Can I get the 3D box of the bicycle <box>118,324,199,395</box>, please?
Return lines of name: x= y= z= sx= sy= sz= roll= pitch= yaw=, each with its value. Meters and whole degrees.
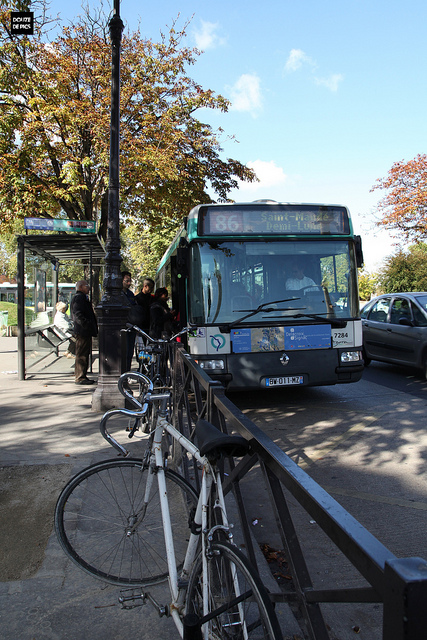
bicycle: x=-0.345 y=0.293 z=3.397 sx=0.447 sy=0.541 sz=0.833 roll=1 pitch=2 yaw=-23

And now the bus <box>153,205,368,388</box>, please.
bus: x=0.699 y=-0.367 z=10.863 sx=2.816 sy=3.169 sz=8.008 roll=-2 pitch=1 yaw=0

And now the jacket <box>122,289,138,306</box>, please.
jacket: x=-1.661 y=-0.464 z=9.601 sx=0.216 sy=0.321 sz=0.871 roll=-2 pitch=1 yaw=-8

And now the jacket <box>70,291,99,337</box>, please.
jacket: x=-2.489 y=-0.120 z=9.254 sx=0.448 sy=0.914 sz=0.864 roll=-4 pitch=-5 yaw=-12

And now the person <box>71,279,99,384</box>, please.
person: x=-2.483 y=0.218 z=9.216 sx=0.449 sy=2.042 sz=0.864 roll=-2 pitch=1 yaw=-16

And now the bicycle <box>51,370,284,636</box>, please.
bicycle: x=-0.236 y=0.877 z=2.128 sx=0.483 sy=0.999 sz=1.859 roll=-2 pitch=4 yaw=-24
